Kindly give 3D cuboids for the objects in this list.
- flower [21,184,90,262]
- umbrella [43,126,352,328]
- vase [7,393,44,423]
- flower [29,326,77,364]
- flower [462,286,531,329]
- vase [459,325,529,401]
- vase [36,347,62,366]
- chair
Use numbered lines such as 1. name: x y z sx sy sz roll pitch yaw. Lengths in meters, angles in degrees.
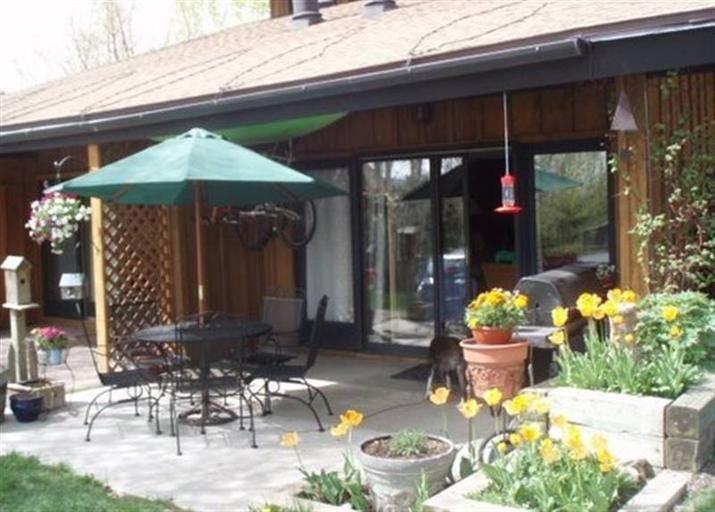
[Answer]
1. flower: -3.025 -0.363 7.711 0.458 0.724 0.713 8 37 2
2. umbrella: -1.355 -0.272 6.817 1.988 1.716 2.001 1 8 23
3. vase: -2.906 1.327 6.682 0.242 0.197 0.248 1 3 -3
4. flower: -2.914 0.856 7.219 0.332 0.376 0.358 -6 -1 -34
5. flower: 1.064 0.432 5.780 0.413 0.376 0.451 -14 1 -18
6. vase: 1.053 0.789 5.716 0.422 0.331 0.440 0 2 14
7. vase: -2.866 0.942 7.134 0.163 0.115 0.170 0 1 -19
8. chair: -1.103 0.986 6.562 1.556 0.980 1.231 -4 7 -17
